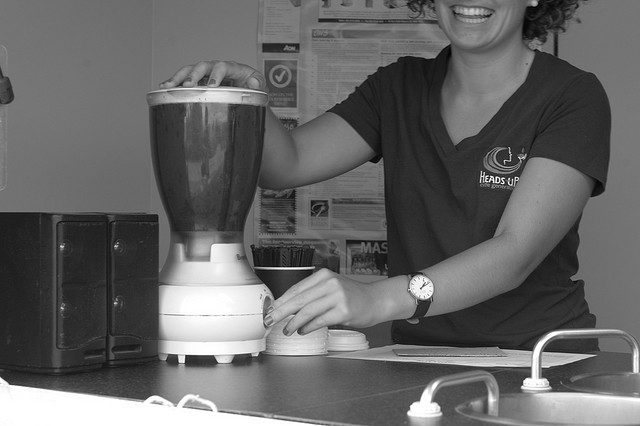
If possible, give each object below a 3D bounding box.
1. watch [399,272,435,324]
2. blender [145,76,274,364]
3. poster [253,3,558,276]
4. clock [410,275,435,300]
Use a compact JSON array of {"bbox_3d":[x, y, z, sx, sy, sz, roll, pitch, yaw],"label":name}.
[{"bbox_3d":[0.204,0.165,1.291,0.056,0.088,0.046,-3,23,-5],"label":"watch"},{"bbox_3d":[-0.220,0.019,1.291,0.247,0.525,0.310,-3,23,-4],"label":"blender"},{"bbox_3d":[0.109,-0.360,2.986,0.863,1.188,0.654,3,23,8],"label":"poster"},{"bbox_3d":[0.204,0.149,1.278,0.046,0.042,0.031,3,23,10],"label":"clock"}]
